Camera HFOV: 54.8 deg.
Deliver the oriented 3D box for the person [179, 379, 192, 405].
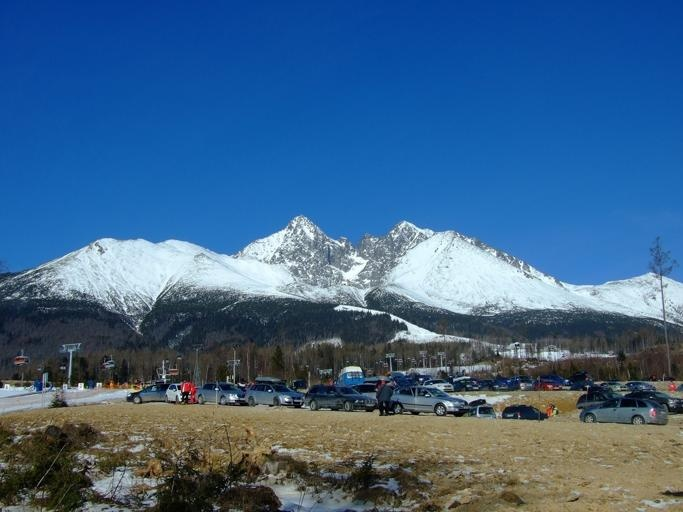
[{"bbox_3d":[-11.285,9.910,47.736,0.708,1.696,1.495,2,4,-7],"label":"person"}]
